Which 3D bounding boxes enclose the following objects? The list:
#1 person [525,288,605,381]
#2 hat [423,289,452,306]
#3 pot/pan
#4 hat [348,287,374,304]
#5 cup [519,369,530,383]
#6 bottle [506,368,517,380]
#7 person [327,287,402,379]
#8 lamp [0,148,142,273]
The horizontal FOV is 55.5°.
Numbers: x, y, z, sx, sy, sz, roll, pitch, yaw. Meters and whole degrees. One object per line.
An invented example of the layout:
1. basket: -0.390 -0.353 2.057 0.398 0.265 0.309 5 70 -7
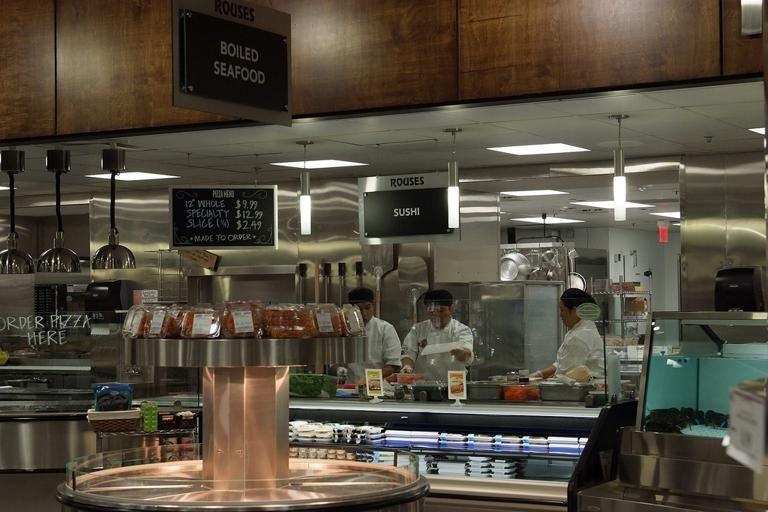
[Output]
1. person: 1.495 0.596 5.609 0.652 0.711 0.536 1 -2 22
2. hat: 0.428 0.338 5.891 0.150 0.071 0.142 4 -4 -25
3. pot/pan: 2.068 0.133 9.613 1.213 0.352 0.806 0 -1 11
4. hat: -0.208 0.386 7.023 0.200 0.111 0.191 2 -5 -26
5. cup: 1.058 0.917 5.563 0.090 0.113 0.086 0 -4 0
6. bottle: 0.975 0.913 5.616 0.084 0.073 0.080 0 -6 -3
7. person: -0.203 0.666 6.519 0.589 0.728 1.301 -2 -2 -4
8. lamp: -2.961 -0.416 6.924 1.194 1.151 0.740 -2 -2 4
